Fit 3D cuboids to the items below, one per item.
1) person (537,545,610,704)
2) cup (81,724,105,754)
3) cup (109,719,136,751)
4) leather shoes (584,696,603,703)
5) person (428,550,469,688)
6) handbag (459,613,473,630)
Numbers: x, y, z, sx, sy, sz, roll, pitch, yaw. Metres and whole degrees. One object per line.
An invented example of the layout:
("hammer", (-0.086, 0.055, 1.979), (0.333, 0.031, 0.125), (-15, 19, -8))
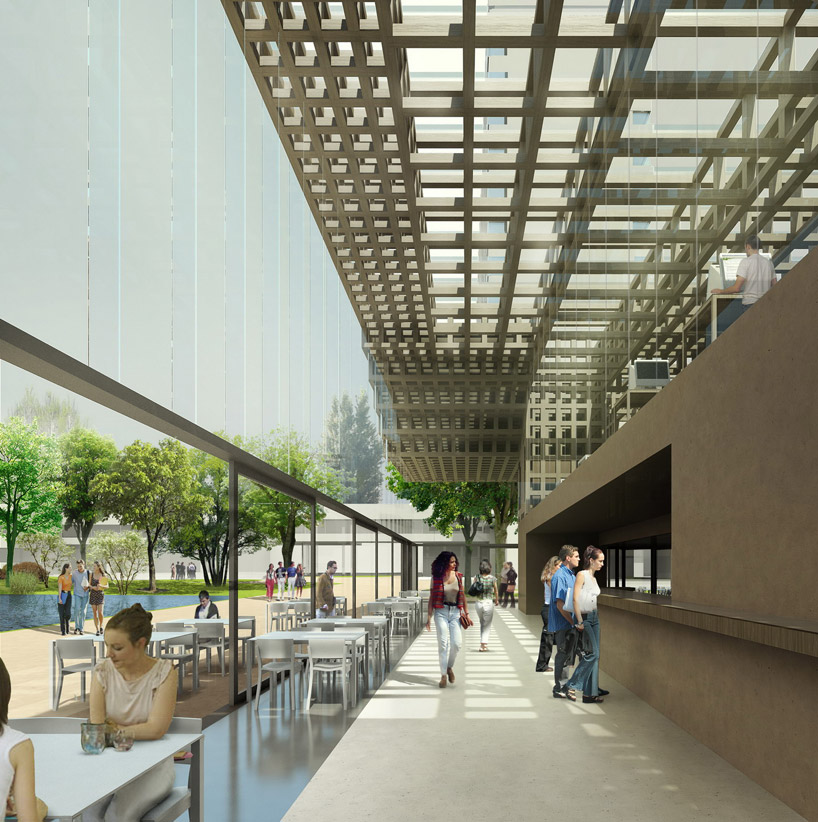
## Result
("person", (2.006, 2.548, 9.112), (0.624, 1.766, 2.330), (-2, -14, 11))
("cup", (-1.204, 1.252, 2.899), (0.082, 0.138, 0.096), (3, -16, -19))
("cup", (-1.134, 1.277, 2.982), (0.064, 0.107, 0.097), (1, -17, -10))
("leather shoes", (2.044, 3.234, 8.459), (0.229, 0.066, 0.165), (-3, -16, 9))
("person", (0.538, 2.749, 10.165), (0.520, 1.803, 1.355), (-1, -12, 4))
("handbag", (0.721, 2.766, 9.640), (0.117, 0.323, 0.282), (-7, -10, 7))
